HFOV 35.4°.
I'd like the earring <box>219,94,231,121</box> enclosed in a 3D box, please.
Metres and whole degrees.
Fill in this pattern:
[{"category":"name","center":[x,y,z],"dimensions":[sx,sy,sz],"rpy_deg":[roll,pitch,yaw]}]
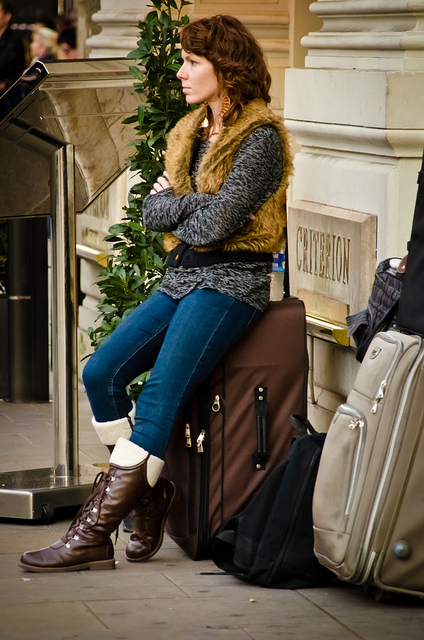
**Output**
[{"category":"earring","center":[0.041,-0.664,2.080],"dimensions":[0.019,0.063,0.050],"rpy_deg":[8,-6,-22]}]

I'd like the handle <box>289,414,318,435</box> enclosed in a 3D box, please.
[{"category":"handle","center":[0.268,0.316,1.980],"dimensions":[0.039,0.019,0.123],"rpy_deg":[5,13,-19]}]

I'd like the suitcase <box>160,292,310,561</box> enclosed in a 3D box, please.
[{"category":"suitcase","center":[-0.045,0.297,2.317],"dimensions":[0.495,0.837,0.595],"rpy_deg":[-2,12,-33]}]

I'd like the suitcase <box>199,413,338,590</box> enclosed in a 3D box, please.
[{"category":"suitcase","center":[0.237,0.515,1.944],"dimensions":[0.414,0.490,0.380],"rpy_deg":[6,-7,18]}]

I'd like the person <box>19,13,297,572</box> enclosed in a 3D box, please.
[{"category":"person","center":[-0.114,-0.109,2.090],"dimensions":[0.691,1.715,0.377],"rpy_deg":[1,-7,13]}]

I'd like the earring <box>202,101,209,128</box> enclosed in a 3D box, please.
[{"category":"earring","center":[-0.020,-0.694,2.261],"dimensions":[0.055,0.069,0.026],"rpy_deg":[-1,-12,12]}]
